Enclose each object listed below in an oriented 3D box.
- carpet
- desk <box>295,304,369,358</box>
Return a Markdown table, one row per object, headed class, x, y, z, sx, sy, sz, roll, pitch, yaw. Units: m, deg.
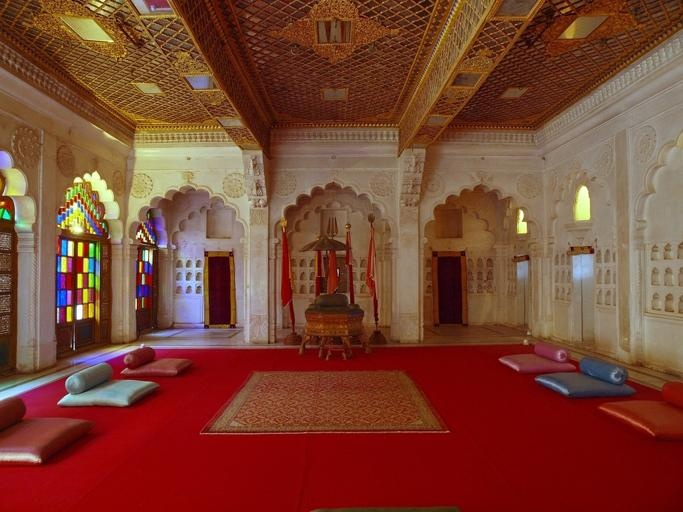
| class | x | y | z | sx | sy | sz | roll | pitch | yaw |
| --- | --- | --- | --- | --- | --- | --- | --- | --- | --- |
| carpet | -0.197 | 1.976 | 6.115 | 2.820 | 0.105 | 1.893 | 0 | 7 | 0 |
| desk | -0.128 | 1.441 | 8.688 | 1.330 | 0.969 | 1.327 | 1 | 7 | 3 |
